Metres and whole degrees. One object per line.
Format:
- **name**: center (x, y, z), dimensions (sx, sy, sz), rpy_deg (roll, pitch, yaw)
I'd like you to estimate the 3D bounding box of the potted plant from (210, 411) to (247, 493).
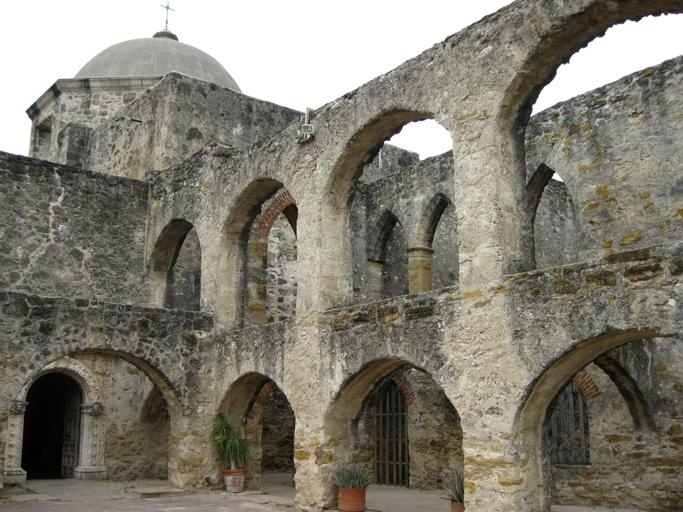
- **potted plant**: center (-2.016, 3.548, 16.007), dimensions (0.665, 1.402, 0.372), rpy_deg (3, -18, -7)
